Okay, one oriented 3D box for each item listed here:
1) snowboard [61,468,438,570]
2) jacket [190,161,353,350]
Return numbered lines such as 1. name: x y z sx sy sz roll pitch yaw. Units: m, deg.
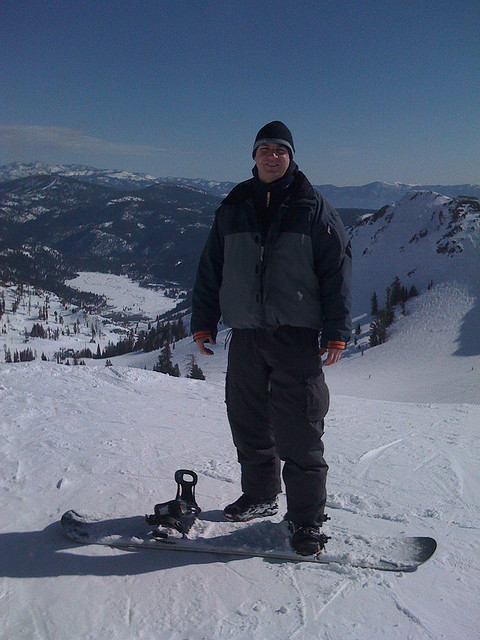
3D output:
1. snowboard: 0.014 1.156 3.629 2.210 0.343 0.530 4 5 7
2. jacket: 0.218 -0.410 3.886 1.077 1.182 0.377 7 6 36
